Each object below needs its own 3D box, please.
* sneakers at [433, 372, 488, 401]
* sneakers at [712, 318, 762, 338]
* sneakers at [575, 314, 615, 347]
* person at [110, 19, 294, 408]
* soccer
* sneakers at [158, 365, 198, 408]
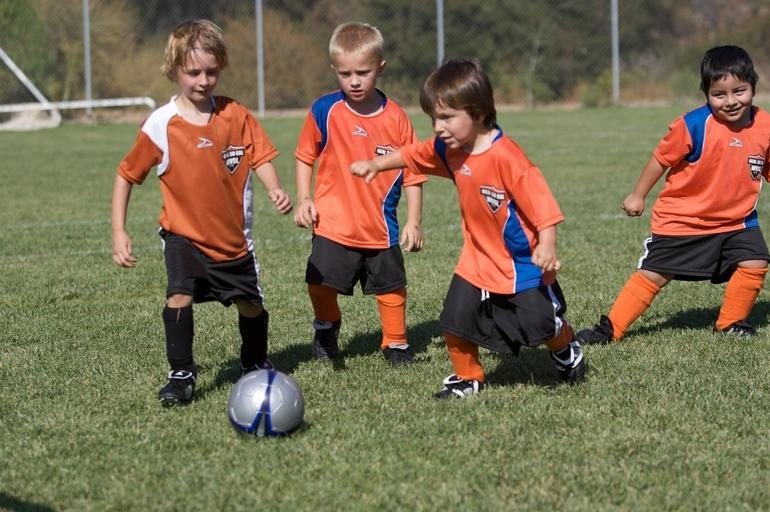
[{"bbox_3d":[0.503,0.862,5.724,0.346,0.155,0.138,-2,3,7],"label":"sneakers"},{"bbox_3d":[2.601,0.526,6.427,0.316,0.141,0.113,-4,3,6],"label":"sneakers"},{"bbox_3d":[1.558,0.557,6.400,0.265,0.186,0.164,0,4,-13],"label":"sneakers"},{"bbox_3d":[-1.200,-0.074,5.735,1.124,1.995,0.519,-6,14,-19],"label":"person"},{"bbox_3d":[-0.766,0.982,5.570,0.456,0.491,0.484,5,43,-14],"label":"soccer"},{"bbox_3d":[-1.352,0.864,5.662,0.133,0.140,0.325,0,0,5],"label":"sneakers"}]
